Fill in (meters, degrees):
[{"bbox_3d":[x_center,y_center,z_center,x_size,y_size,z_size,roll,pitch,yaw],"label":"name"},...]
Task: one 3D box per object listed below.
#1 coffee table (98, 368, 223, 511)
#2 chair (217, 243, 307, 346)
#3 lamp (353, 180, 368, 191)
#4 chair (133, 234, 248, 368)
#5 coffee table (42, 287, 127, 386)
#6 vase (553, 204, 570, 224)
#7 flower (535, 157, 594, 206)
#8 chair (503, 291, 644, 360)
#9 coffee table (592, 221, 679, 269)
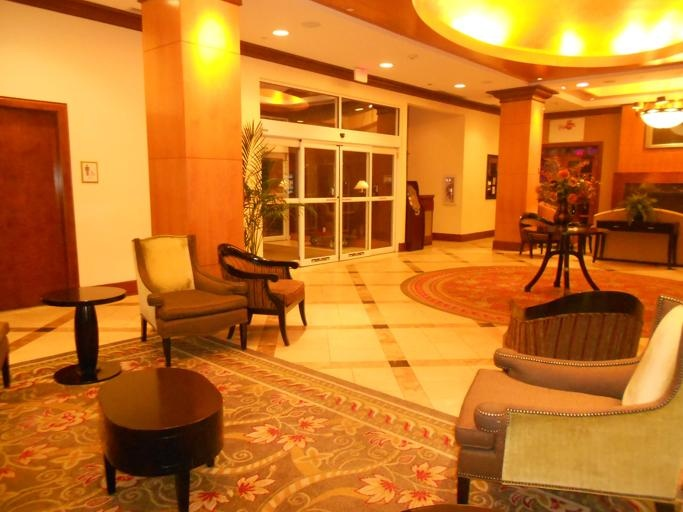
[{"bbox_3d":[-1.203,1.166,3.370,0.689,0.538,0.826,4,20,-13],"label":"coffee table"},{"bbox_3d":[-0.884,0.370,5.768,0.981,0.859,0.901,8,12,28],"label":"chair"},{"bbox_3d":[0.398,-1.451,10.351,0.069,0.234,0.364,11,16,37],"label":"lamp"},{"bbox_3d":[-1.656,0.327,5.147,1.108,0.865,0.961,13,16,37],"label":"chair"},{"bbox_3d":[-2.283,0.682,4.793,0.929,0.826,0.834,-1,11,-19],"label":"coffee table"},{"bbox_3d":[3.283,-0.639,7.553,0.178,0.316,0.280,-2,13,-12],"label":"vase"},{"bbox_3d":[3.250,-1.051,7.305,0.724,0.661,0.931,5,13,19],"label":"flower"},{"bbox_3d":[1.940,0.550,4.195,0.919,0.479,0.716,5,4,34],"label":"chair"},{"bbox_3d":[5.809,-0.233,9.834,1.063,0.620,0.380,5,7,45],"label":"coffee table"}]
